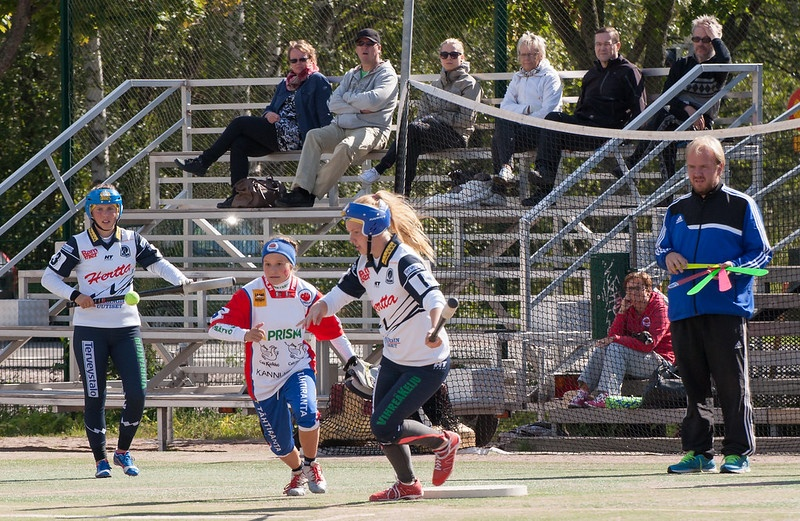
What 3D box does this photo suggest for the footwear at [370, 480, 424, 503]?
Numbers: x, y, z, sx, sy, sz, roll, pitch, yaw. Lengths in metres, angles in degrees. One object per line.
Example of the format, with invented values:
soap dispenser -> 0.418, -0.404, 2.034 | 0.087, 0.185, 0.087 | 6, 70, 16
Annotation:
footwear -> -0.002, 2.322, 17.664 | 0.608, 0.208, 0.197 | 0, -3, -4

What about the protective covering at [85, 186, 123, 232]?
protective covering -> -3.454, -0.715, 19.950 | 0.472, 0.478, 0.539 | -1, -13, -12

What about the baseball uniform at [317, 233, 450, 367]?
baseball uniform -> -0.097, 0.417, 18.026 | 1.706, 1.242, 1.035 | -1, 6, 39

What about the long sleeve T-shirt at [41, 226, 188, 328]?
long sleeve T-shirt -> -3.274, 0.141, 19.829 | 1.703, 1.112, 0.748 | 2, 10, 23

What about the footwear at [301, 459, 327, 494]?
footwear -> -0.895, 2.243, 18.276 | 0.163, 0.404, 0.181 | -23, -7, -16

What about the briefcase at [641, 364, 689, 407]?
briefcase -> 3.098, 1.476, 20.239 | 0.440, 0.514, 0.199 | -1, -17, 13

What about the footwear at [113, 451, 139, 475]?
footwear -> -3.159, 2.292, 19.854 | 0.295, 0.129, 0.100 | 34, 37, 15

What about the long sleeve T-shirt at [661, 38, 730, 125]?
long sleeve T-shirt -> 3.776, -2.138, 21.872 | 0.877, 0.984, 0.602 | 11, 12, 17

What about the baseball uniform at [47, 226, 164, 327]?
baseball uniform -> -3.496, 0.181, 20.519 | 1.436, 0.996, 0.638 | -2, -14, -6

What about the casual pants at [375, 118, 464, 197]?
casual pants -> 0.283, -1.295, 21.592 | 1.187, 0.963, 0.727 | -1, -14, 18

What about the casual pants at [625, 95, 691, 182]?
casual pants -> 3.338, -1.569, 22.133 | 0.595, 0.734, 1.241 | 32, 5, 7

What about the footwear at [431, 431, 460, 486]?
footwear -> 0.492, 2.027, 18.061 | 0.292, 0.603, 0.220 | 4, 16, -42

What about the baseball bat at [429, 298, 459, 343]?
baseball bat -> 0.420, 0.604, 17.495 | 0.147, 0.120, 0.777 | -20, -16, -24

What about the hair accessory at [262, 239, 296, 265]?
hair accessory -> -1.272, -0.068, 18.533 | 0.319, 0.193, 0.295 | 6, -14, 6

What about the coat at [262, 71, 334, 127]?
coat -> -1.311, -2.081, 22.680 | 0.808, 0.587, 0.429 | 16, -4, 43

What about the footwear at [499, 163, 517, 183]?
footwear -> 1.328, -1.078, 21.461 | 0.240, 0.208, 0.164 | 13, -41, 3

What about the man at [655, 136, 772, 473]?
man -> 3.281, 0.472, 18.437 | 1.396, 3.514, 1.201 | -2, -6, 26

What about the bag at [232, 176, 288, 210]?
bag -> -1.802, -0.851, 22.087 | 0.382, 0.242, 0.563 | 11, 6, 36
